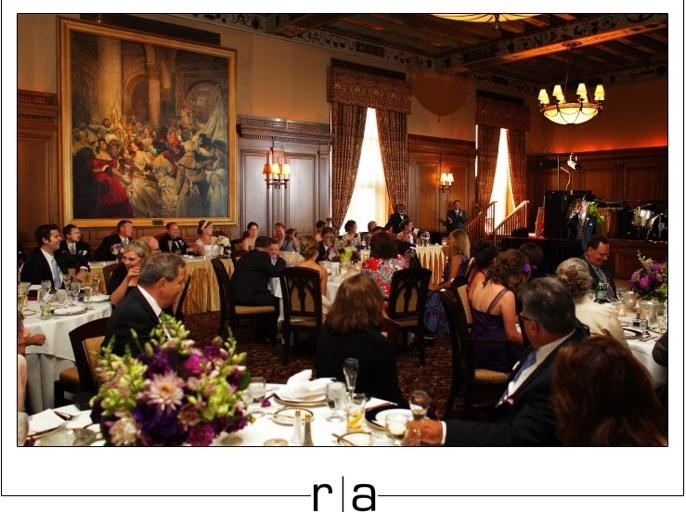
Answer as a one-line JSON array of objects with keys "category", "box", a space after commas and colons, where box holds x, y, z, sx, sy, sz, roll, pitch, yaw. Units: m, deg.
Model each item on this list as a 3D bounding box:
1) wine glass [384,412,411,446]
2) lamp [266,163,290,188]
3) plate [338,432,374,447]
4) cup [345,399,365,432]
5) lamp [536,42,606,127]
[{"category": "wine glass", "box": [0.214, 0.663, 1.924, 0.094, 0.109, 0.092, 1, 2, 16]}, {"category": "lamp", "box": [-1.422, -1.685, 10.262, 0.503, 0.563, 0.498, -6, 18, -32]}, {"category": "plate", "box": [0.053, 0.767, 2.080, 0.112, 0.018, 0.119, 0, 2, 10]}, {"category": "cup", "box": [0.068, 0.711, 2.210, 0.073, 0.117, 0.115, 3, 3, 5]}, {"category": "lamp", "box": [4.520, -3.376, 9.720, 1.180, 1.632, 1.209, -1, 7, -5]}]
